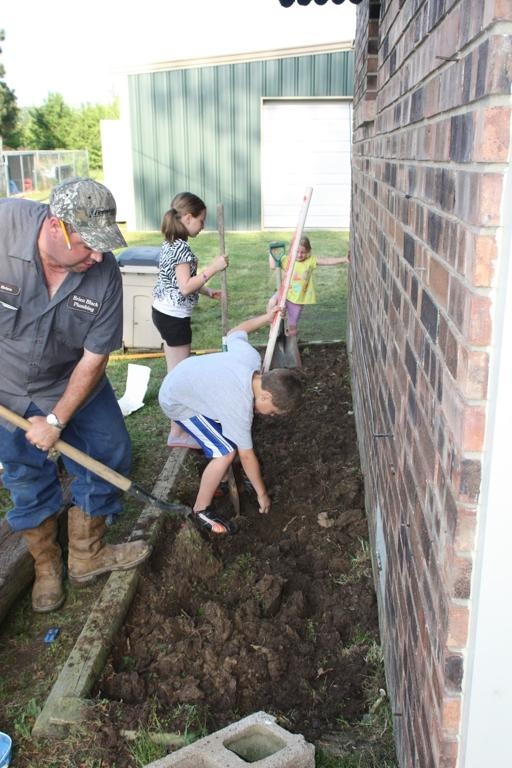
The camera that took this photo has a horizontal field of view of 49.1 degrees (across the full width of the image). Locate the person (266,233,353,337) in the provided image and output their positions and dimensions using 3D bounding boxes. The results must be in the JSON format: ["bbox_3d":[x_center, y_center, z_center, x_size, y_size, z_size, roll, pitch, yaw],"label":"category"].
[{"bbox_3d":[0.477,-0.953,6.175,0.825,1.328,0.353,8,40,0],"label":"person"}]

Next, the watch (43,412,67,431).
[{"bbox_3d":[-0.923,0.179,2.588,0.075,0.089,0.055,-9,22,-19],"label":"watch"}]

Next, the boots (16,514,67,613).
[{"bbox_3d":[-1.104,0.934,2.935,0.162,0.418,0.423,-8,20,-15],"label":"boots"}]

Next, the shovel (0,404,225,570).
[{"bbox_3d":[-0.797,0.608,3.117,1.336,0.149,0.132,36,22,-7],"label":"shovel"}]

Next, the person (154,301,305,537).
[{"bbox_3d":[-0.190,0.159,3.547,0.791,1.172,1.026,5,31,-4],"label":"person"}]

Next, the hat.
[{"bbox_3d":[-0.691,-0.672,2.291,0.270,0.311,0.311,-8,22,-18],"label":"hat"}]
